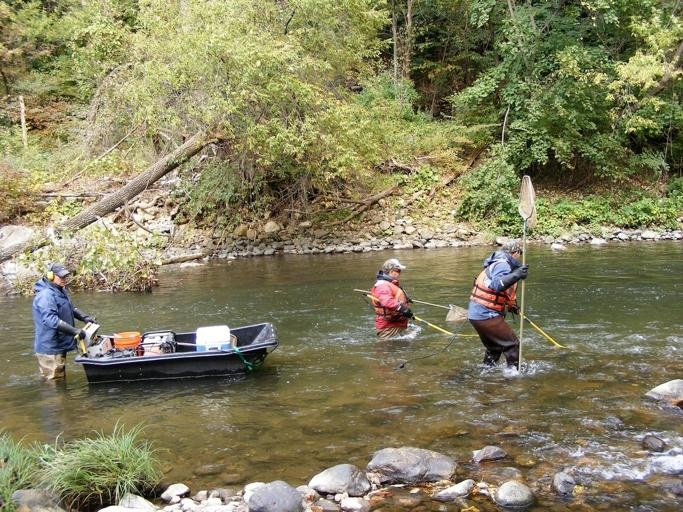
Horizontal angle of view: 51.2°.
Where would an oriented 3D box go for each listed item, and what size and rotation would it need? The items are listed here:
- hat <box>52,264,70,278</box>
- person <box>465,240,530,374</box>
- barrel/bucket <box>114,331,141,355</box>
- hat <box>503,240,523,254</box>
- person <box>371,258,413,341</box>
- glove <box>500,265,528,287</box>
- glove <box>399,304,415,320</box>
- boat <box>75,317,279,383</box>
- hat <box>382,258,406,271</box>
[{"bbox_3d":[-5.715,0.288,14.374,0.328,0.285,0.291,-7,5,-20],"label":"hat"},{"bbox_3d":[3.035,0.958,13.769,1.177,2.469,0.920,-4,6,19],"label":"person"},{"bbox_3d":[-4.314,1.749,14.357,0.524,0.372,0.457,0,0,5],"label":"barrel/bucket"},{"bbox_3d":[3.332,-0.198,13.849,0.279,0.264,0.324,5,17,28],"label":"hat"},{"bbox_3d":[1.162,1.053,16.207,0.794,0.930,1.863,-10,-32,9],"label":"person"},{"bbox_3d":[3.282,0.378,13.291,0.499,0.440,0.374,-3,5,27],"label":"glove"},{"bbox_3d":[1.352,1.128,14.962,0.273,0.263,0.422,-4,4,11],"label":"glove"},{"bbox_3d":[-3.324,1.960,14.252,3.318,0.600,1.624,-2,1,-3],"label":"boat"},{"bbox_3d":[1.133,0.185,15.362,0.471,0.172,0.263,0,3,3],"label":"hat"}]
